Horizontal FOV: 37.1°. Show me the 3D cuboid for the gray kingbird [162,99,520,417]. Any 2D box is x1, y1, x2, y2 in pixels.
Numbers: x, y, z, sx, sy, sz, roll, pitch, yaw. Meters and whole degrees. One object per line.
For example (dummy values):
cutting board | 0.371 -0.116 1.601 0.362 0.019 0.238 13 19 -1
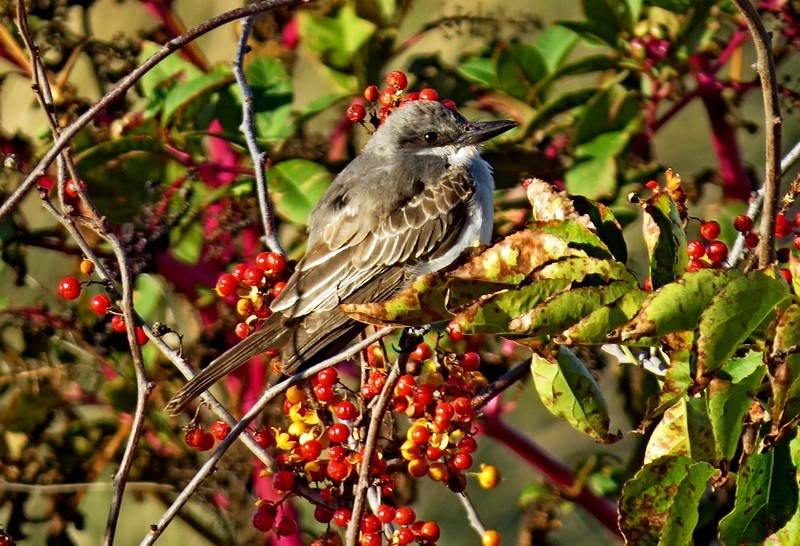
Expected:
gray kingbird | -0.213 -0.253 6.702 1.860 0.704 1.041 -16 -59 11
